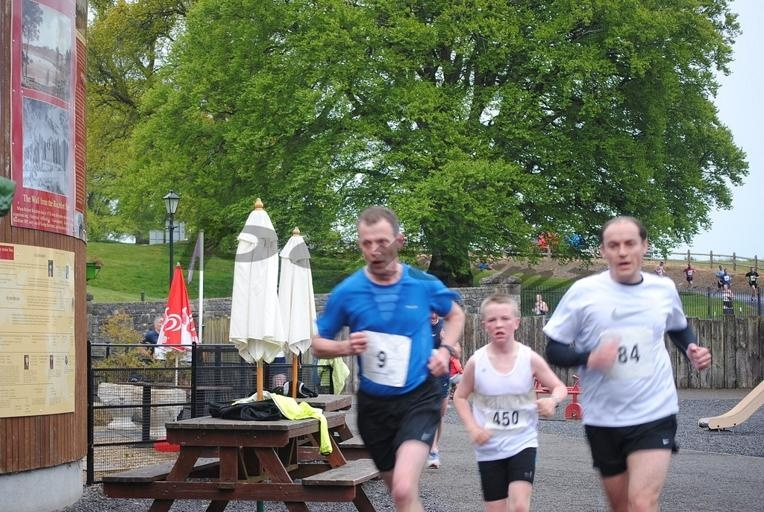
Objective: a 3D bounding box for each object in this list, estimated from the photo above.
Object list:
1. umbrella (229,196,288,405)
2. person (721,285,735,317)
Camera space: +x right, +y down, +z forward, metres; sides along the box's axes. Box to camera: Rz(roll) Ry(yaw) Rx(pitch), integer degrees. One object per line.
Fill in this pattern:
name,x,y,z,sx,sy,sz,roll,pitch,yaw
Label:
umbrella,-1.804,0.646,15.116,0.778,2.860,0.713,-1,-8,-7
person,13.181,1.763,39.728,0.381,1.044,1.515,-4,-9,19
